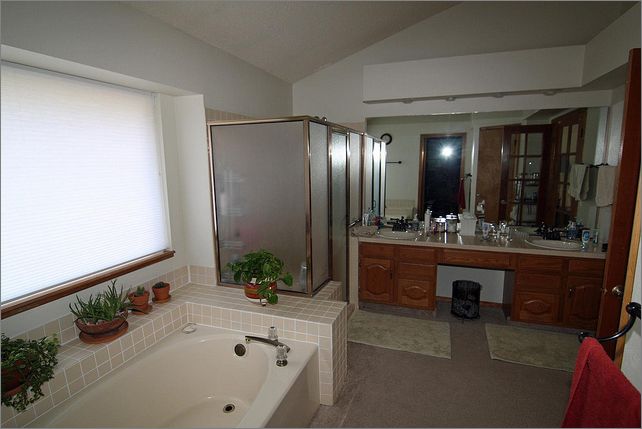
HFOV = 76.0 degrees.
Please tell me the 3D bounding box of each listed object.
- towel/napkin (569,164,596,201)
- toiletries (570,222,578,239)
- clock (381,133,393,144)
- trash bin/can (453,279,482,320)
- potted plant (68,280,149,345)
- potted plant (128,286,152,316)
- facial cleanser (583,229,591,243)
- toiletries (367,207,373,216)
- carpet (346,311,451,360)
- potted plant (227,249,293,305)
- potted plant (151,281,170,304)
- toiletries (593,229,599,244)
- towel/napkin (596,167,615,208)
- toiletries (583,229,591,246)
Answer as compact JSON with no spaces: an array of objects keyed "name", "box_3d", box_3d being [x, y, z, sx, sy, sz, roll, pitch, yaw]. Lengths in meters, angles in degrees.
[{"name":"towel/napkin","box_3d":[2.932,-0.369,4.592,0.118,0.407,0.387,-7,8,-42]},{"name":"toiletries","box_3d":[2.886,0.182,4.682,0.095,0.188,0.030,3,9,22]},{"name":"clock","box_3d":[0.845,-0.982,5.244,0.136,0.139,0.019,5,13,42]},{"name":"trash bin/can","box_3d":[1.737,1.015,4.956,0.382,0.412,0.411,1,3,10]},{"name":"potted plant","box_3d":[-1.830,0.833,3.519,0.495,0.381,0.382,-15,17,-20]},{"name":"potted plant","box_3d":[-1.632,0.778,3.754,0.224,0.253,0.223,-1,4,-25]},{"name":"facial cleanser","box_3d":[2.971,0.242,4.576,0.076,0.140,0.037,2,-3,10]},{"name":"toiletries","box_3d":[0.654,-0.049,5.465,0.086,0.087,0.060,0,-7,-2]},{"name":"carpet","box_3d":[0.865,1.334,4.617,1.137,0.150,0.706,2,8,16]},{"name":"potted plant","box_3d":[-0.547,0.538,3.778,0.544,0.385,0.519,2,7,-1]},{"name":"potted plant","box_3d":[-1.526,0.755,3.915,0.181,0.174,0.180,-5,7,-27]},{"name":"toiletries","box_3d":[3.034,0.239,4.538,0.036,0.158,0.078,0,9,2]},{"name":"towel/napkin","box_3d":[3.027,-0.303,4.372,0.140,0.449,0.168,5,10,30]},{"name":"toiletries","box_3d":[2.952,0.252,4.565,0.078,0.147,0.176,5,10,32]}]
